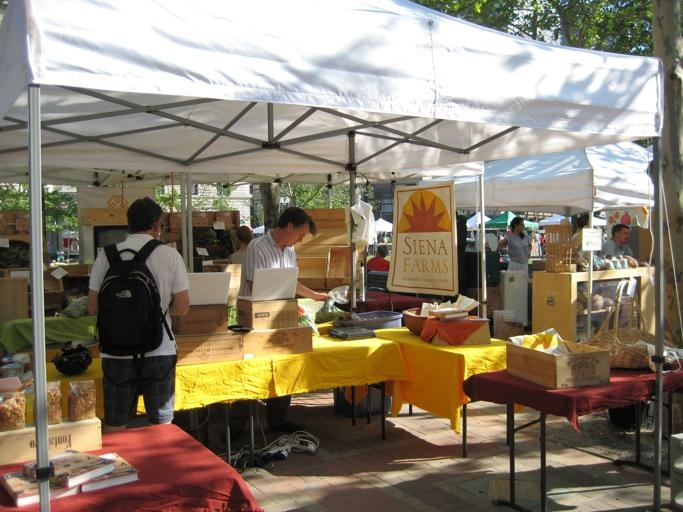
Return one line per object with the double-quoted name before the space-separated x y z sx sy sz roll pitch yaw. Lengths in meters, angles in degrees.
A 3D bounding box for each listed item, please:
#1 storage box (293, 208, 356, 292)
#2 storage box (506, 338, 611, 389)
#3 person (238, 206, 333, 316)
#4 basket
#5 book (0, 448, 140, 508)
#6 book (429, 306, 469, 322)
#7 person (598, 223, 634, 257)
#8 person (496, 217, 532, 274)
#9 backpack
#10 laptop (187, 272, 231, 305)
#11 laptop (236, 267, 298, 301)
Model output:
"storage box" -0.268 -0.004 9.559 1.198 1.312 0.417 -2 -39 -1
"storage box" 1.541 0.754 4.105 0.476 0.243 0.489 -3 4 -25
"person" -0.489 0.082 5.119 0.991 0.963 0.821 9 -1 -10
"basket" 2.242 0.625 4.655 0.561 0.462 0.840 0 -4 -39
"book" -1.233 0.988 2.603 0.466 0.116 0.374 -4 5 -42
"book" 0.955 0.519 5.125 0.346 0.094 0.132 -1 4 6
"person" 4.773 -0.277 9.887 0.618 0.703 0.864 2 2 19
"person" 3.500 -0.267 11.609 0.604 1.097 1.797 0 4 17
"backpack" -1.316 0.261 3.653 0.577 0.647 0.469 -10 6 -24
"laptop" -0.981 0.236 4.237 0.372 0.192 0.270 1 8 -18
"laptop" -0.624 0.197 4.696 0.612 0.284 0.535 0 -3 -3
